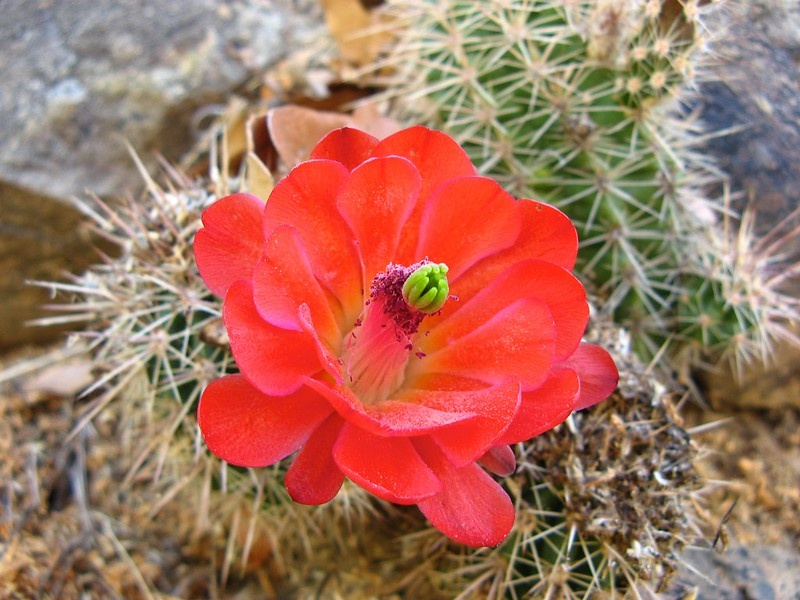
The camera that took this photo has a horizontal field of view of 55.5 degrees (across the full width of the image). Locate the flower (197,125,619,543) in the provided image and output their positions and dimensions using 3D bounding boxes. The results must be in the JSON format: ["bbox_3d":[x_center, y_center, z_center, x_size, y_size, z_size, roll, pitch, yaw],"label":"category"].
[{"bbox_3d":[0.002,0.058,1.600,0.909,0.286,0.817,23,80,4],"label":"flower"}]
